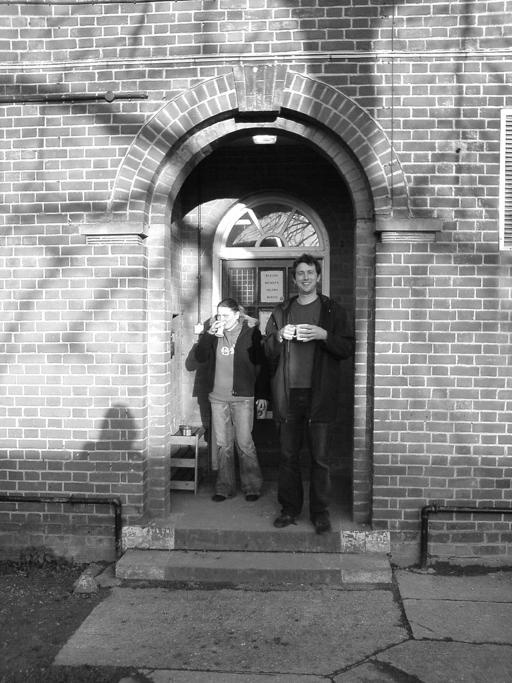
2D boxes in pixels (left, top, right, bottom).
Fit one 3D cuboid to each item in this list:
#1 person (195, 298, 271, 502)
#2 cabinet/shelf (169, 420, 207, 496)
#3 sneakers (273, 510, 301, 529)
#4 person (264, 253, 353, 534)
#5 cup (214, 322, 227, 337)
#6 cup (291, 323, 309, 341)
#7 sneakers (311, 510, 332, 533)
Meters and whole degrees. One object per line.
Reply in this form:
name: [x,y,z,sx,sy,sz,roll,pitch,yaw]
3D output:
person: [-0.226,0.466,7.757,0.561,1.614,0.462,0,0,9]
cabinet/shelf: [-0.619,0.961,8.195,0.263,0.462,0.782,1,8,-3]
sneakers: [0.223,1.306,6.943,0.077,0.092,0.219,-5,-12,26]
person: [0.383,0.381,6.923,0.540,1.991,0.504,1,-1,-23]
cup: [-0.290,-0.093,7.661,0.093,0.109,0.088,0,2,0]
cup: [0.309,-0.060,6.702,0.103,0.109,0.115,0,0,2]
sneakers: [0.462,1.312,6.844,0.129,0.150,0.188,0,0,-3]
